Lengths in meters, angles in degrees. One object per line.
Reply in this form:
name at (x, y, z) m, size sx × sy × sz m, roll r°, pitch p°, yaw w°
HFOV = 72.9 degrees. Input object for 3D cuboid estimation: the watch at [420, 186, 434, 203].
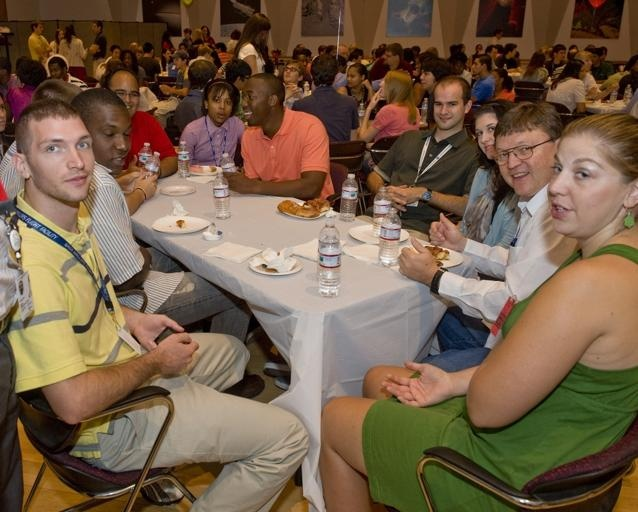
watch at (0.715, -0.401, 2.853) m, size 0.064 × 0.097 × 0.091 m, roll 20°, pitch -15°, yaw 19°

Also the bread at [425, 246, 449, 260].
bread at (0.534, -0.019, 1.941) m, size 0.070 × 0.026 × 0.072 m, roll 22°, pitch 20°, yaw 32°

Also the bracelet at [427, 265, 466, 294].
bracelet at (0.502, 0.096, 1.707) m, size 0.034 × 0.085 × 0.088 m, roll 32°, pitch 38°, yaw 16°

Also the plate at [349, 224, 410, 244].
plate at (0.248, -0.106, 2.132) m, size 0.157 × 0.022 × 0.153 m, roll -16°, pitch 26°, yaw -39°

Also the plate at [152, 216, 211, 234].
plate at (-0.718, -0.161, 2.233) m, size 0.155 × 0.022 × 0.173 m, roll -13°, pitch 24°, yaw -39°
